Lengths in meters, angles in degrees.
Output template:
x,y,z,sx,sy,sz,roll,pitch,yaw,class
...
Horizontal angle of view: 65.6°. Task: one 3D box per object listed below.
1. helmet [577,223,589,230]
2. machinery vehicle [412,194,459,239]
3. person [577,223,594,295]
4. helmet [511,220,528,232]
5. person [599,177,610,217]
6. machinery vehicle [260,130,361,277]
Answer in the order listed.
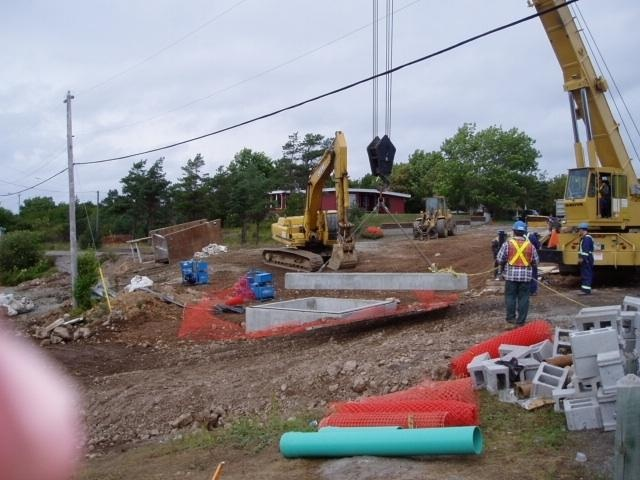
x,y,z,sx,sy,sz,roll,pitch,yaw,class
6.788,-0.338,12.839,0.206,0.110,0.159,12,12,41,helmet
7.797,-1.410,33.604,1.718,2.113,4.223,-2,-1,24,machinery vehicle
6.747,0.527,12.535,0.360,1.704,1.099,-5,11,30,person
4.038,-0.266,10.025,0.248,0.190,0.368,1,5,17,helmet
7.610,-1.122,13.242,0.227,1.028,0.575,-3,12,39,person
-0.199,-1.347,19.685,2.576,5.101,5.178,-8,10,-31,machinery vehicle
